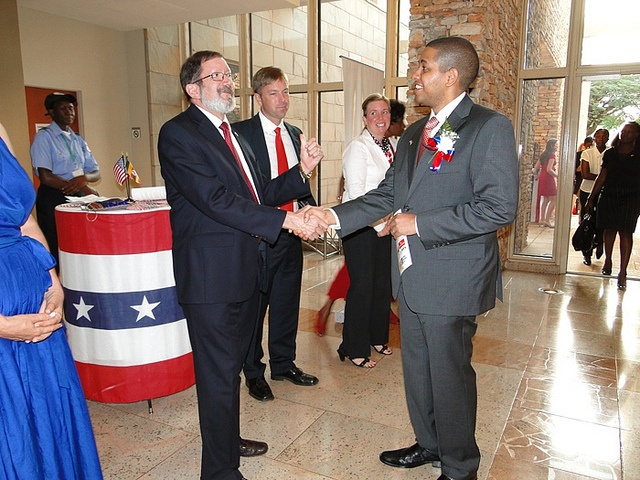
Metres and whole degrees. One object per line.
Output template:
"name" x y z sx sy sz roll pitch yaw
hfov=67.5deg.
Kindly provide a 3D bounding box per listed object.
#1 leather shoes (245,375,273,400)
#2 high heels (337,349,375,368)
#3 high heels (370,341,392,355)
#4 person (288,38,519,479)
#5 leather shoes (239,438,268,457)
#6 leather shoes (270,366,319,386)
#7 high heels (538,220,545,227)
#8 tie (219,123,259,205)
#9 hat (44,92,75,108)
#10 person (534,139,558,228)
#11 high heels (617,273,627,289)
"leather shoes" -0.427 1.020 3.332 0.085 0.097 0.226 -2 3 -34
"high heels" 0.278 0.919 3.776 0.297 0.094 0.121 0 2 21
"high heels" 0.507 0.894 3.990 0.191 0.054 0.075 5 9 45
"person" 0.575 0.147 2.512 0.802 2.295 0.473 7 15 31
"leather shoes" -0.388 1.200 2.769 0.224 0.085 0.088 -1 13 1
"leather shoes" -0.187 0.971 3.542 0.337 0.139 0.136 0 1 13
"high heels" 3.049 -0.224 6.620 0.036 0.055 0.078 -1 -2 2
"tie" -0.458 -0.453 2.562 0.074 0.620 0.098 -37 -44 27
"hat" -2.574 -1.377 4.736 0.267 0.116 0.193 -10 2 10
"person" 3.054 -0.775 6.549 0.332 1.173 0.164 11 17 41
"high heels" 3.629 0.493 5.761 0.101 0.157 0.255 8 15 31
